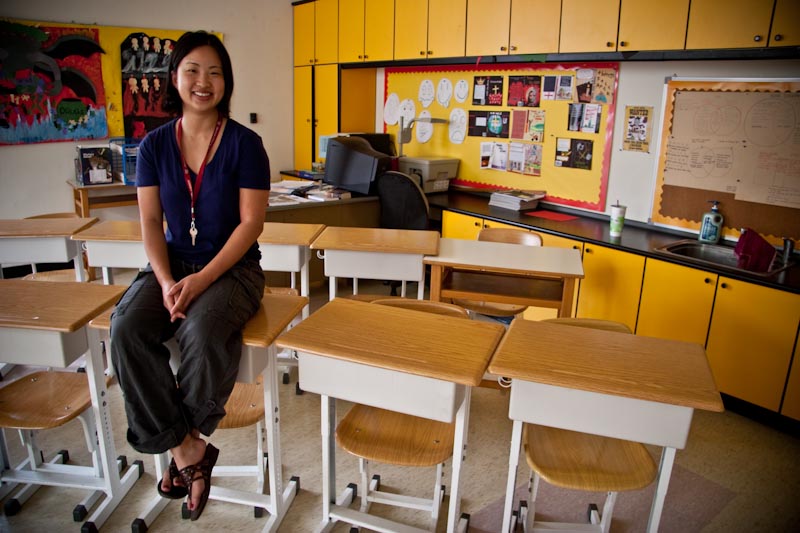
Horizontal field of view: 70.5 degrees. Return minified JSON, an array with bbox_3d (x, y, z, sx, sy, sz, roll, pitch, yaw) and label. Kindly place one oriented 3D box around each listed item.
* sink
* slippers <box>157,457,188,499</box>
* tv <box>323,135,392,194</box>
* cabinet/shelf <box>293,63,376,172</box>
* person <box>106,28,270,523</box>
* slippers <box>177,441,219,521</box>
[{"bbox_3d":[2.209,-0.076,4.054,0.356,0.182,0.490,-17,27,-36],"label":"sink"},{"bbox_3d":[-1.086,1.032,2.694,0.099,0.065,0.244,-4,33,-16],"label":"slippers"},{"bbox_3d":[-0.483,-1.001,5.601,0.636,0.458,0.546,27,33,35],"label":"tv"},{"bbox_3d":[-0.721,-1.751,6.452,0.560,1.399,1.447,-6,13,-38],"label":"cabinet/shelf"},{"bbox_3d":[-1.025,-0.003,2.755,0.696,2.217,0.884,0,17,-2],"label":"person"},{"bbox_3d":[-0.948,1.013,2.713,0.168,0.385,0.140,13,-10,-43],"label":"slippers"}]
